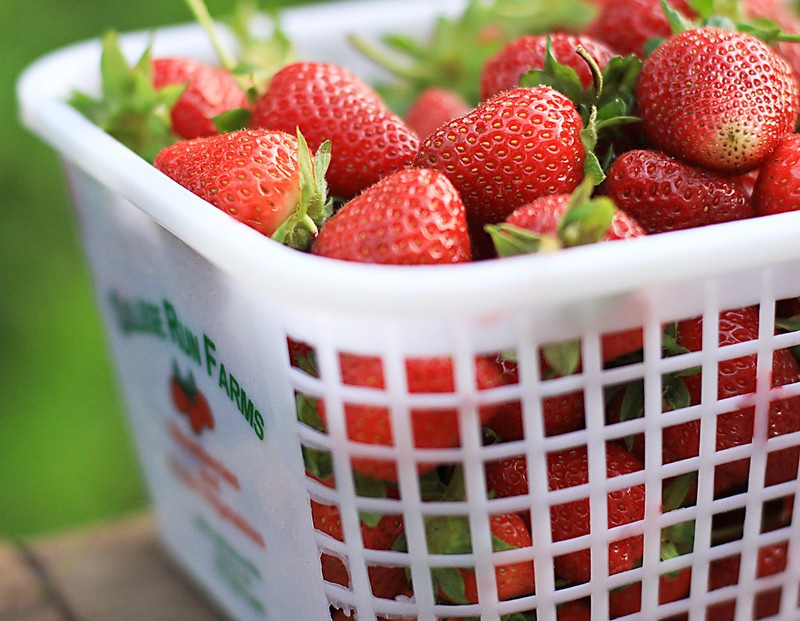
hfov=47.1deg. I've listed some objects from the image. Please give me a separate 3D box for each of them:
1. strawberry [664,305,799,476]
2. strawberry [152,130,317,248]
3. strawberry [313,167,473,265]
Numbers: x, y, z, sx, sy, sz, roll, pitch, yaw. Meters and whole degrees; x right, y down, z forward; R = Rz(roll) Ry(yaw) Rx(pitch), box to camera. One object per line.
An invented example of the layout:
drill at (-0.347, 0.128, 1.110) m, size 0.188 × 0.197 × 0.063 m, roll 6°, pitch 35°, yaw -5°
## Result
strawberry at (0.225, 0.048, 0.681) m, size 0.094 × 0.137 × 0.106 m, roll -2°, pitch 12°, yaw -3°
strawberry at (-0.123, -0.108, 0.670) m, size 0.131 × 0.064 × 0.078 m, roll 20°, pitch 31°, yaw 26°
strawberry at (-0.003, -0.053, 0.589) m, size 0.051 × 0.064 × 0.081 m, roll 54°, pitch 22°, yaw 23°
